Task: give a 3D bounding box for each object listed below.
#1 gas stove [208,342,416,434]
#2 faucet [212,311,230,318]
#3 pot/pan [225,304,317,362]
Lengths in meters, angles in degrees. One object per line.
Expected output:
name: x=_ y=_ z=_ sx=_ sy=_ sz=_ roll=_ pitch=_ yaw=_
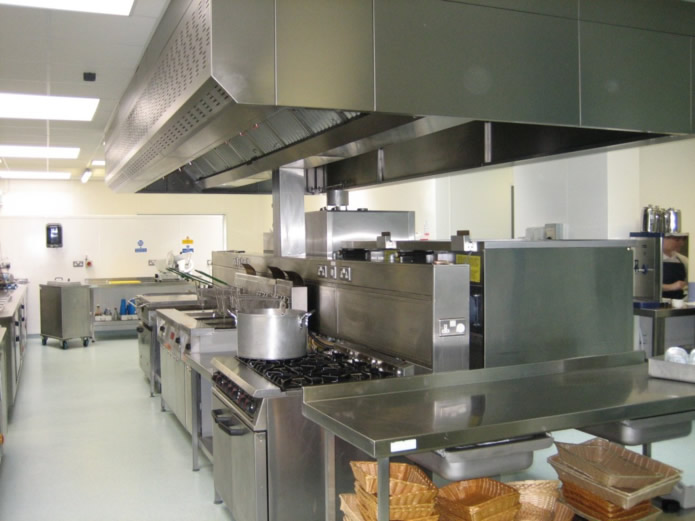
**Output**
gas stove: x=-0.278 y=0.761 z=3.412 sx=1.077 sy=0.397 sz=0.896 roll=-2 pitch=4 yaw=-13
faucet: x=-1.124 y=0.476 z=4.977 sx=0.103 sy=0.028 sz=0.110 roll=1 pitch=-1 yaw=5
pot/pan: x=-0.482 y=0.434 z=3.439 sx=0.479 sy=0.214 sz=0.275 roll=1 pitch=1 yaw=45
